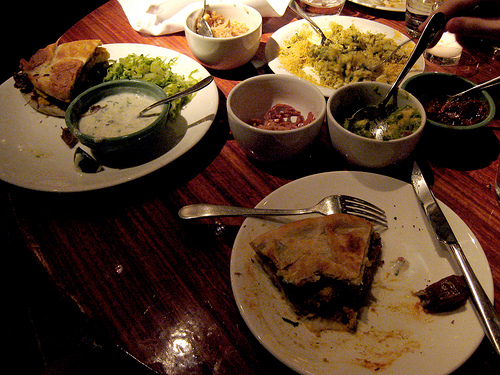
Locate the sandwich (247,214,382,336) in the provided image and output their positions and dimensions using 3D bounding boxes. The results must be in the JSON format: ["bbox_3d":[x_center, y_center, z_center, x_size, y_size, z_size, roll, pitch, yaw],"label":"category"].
[{"bbox_3d":[0.298,0.370,2.072,0.622,0.148,0.578,13,75,9],"label":"sandwich"}]

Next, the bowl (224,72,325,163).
[{"bbox_3d":[0.125,-0.402,2.409,0.525,0.331,0.571,1,55,-1],"label":"bowl"}]

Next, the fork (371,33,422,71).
[{"bbox_3d":[0.989,-0.898,2.806,0.073,0.083,0.539,28,68,42],"label":"fork"}]

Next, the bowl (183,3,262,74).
[{"bbox_3d":[-0.173,-1.067,2.911,0.507,0.335,0.549,0,48,0],"label":"bowl"}]

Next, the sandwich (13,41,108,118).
[{"bbox_3d":[-1.254,-0.750,2.921,0.465,0.210,0.637,44,70,10],"label":"sandwich"}]
